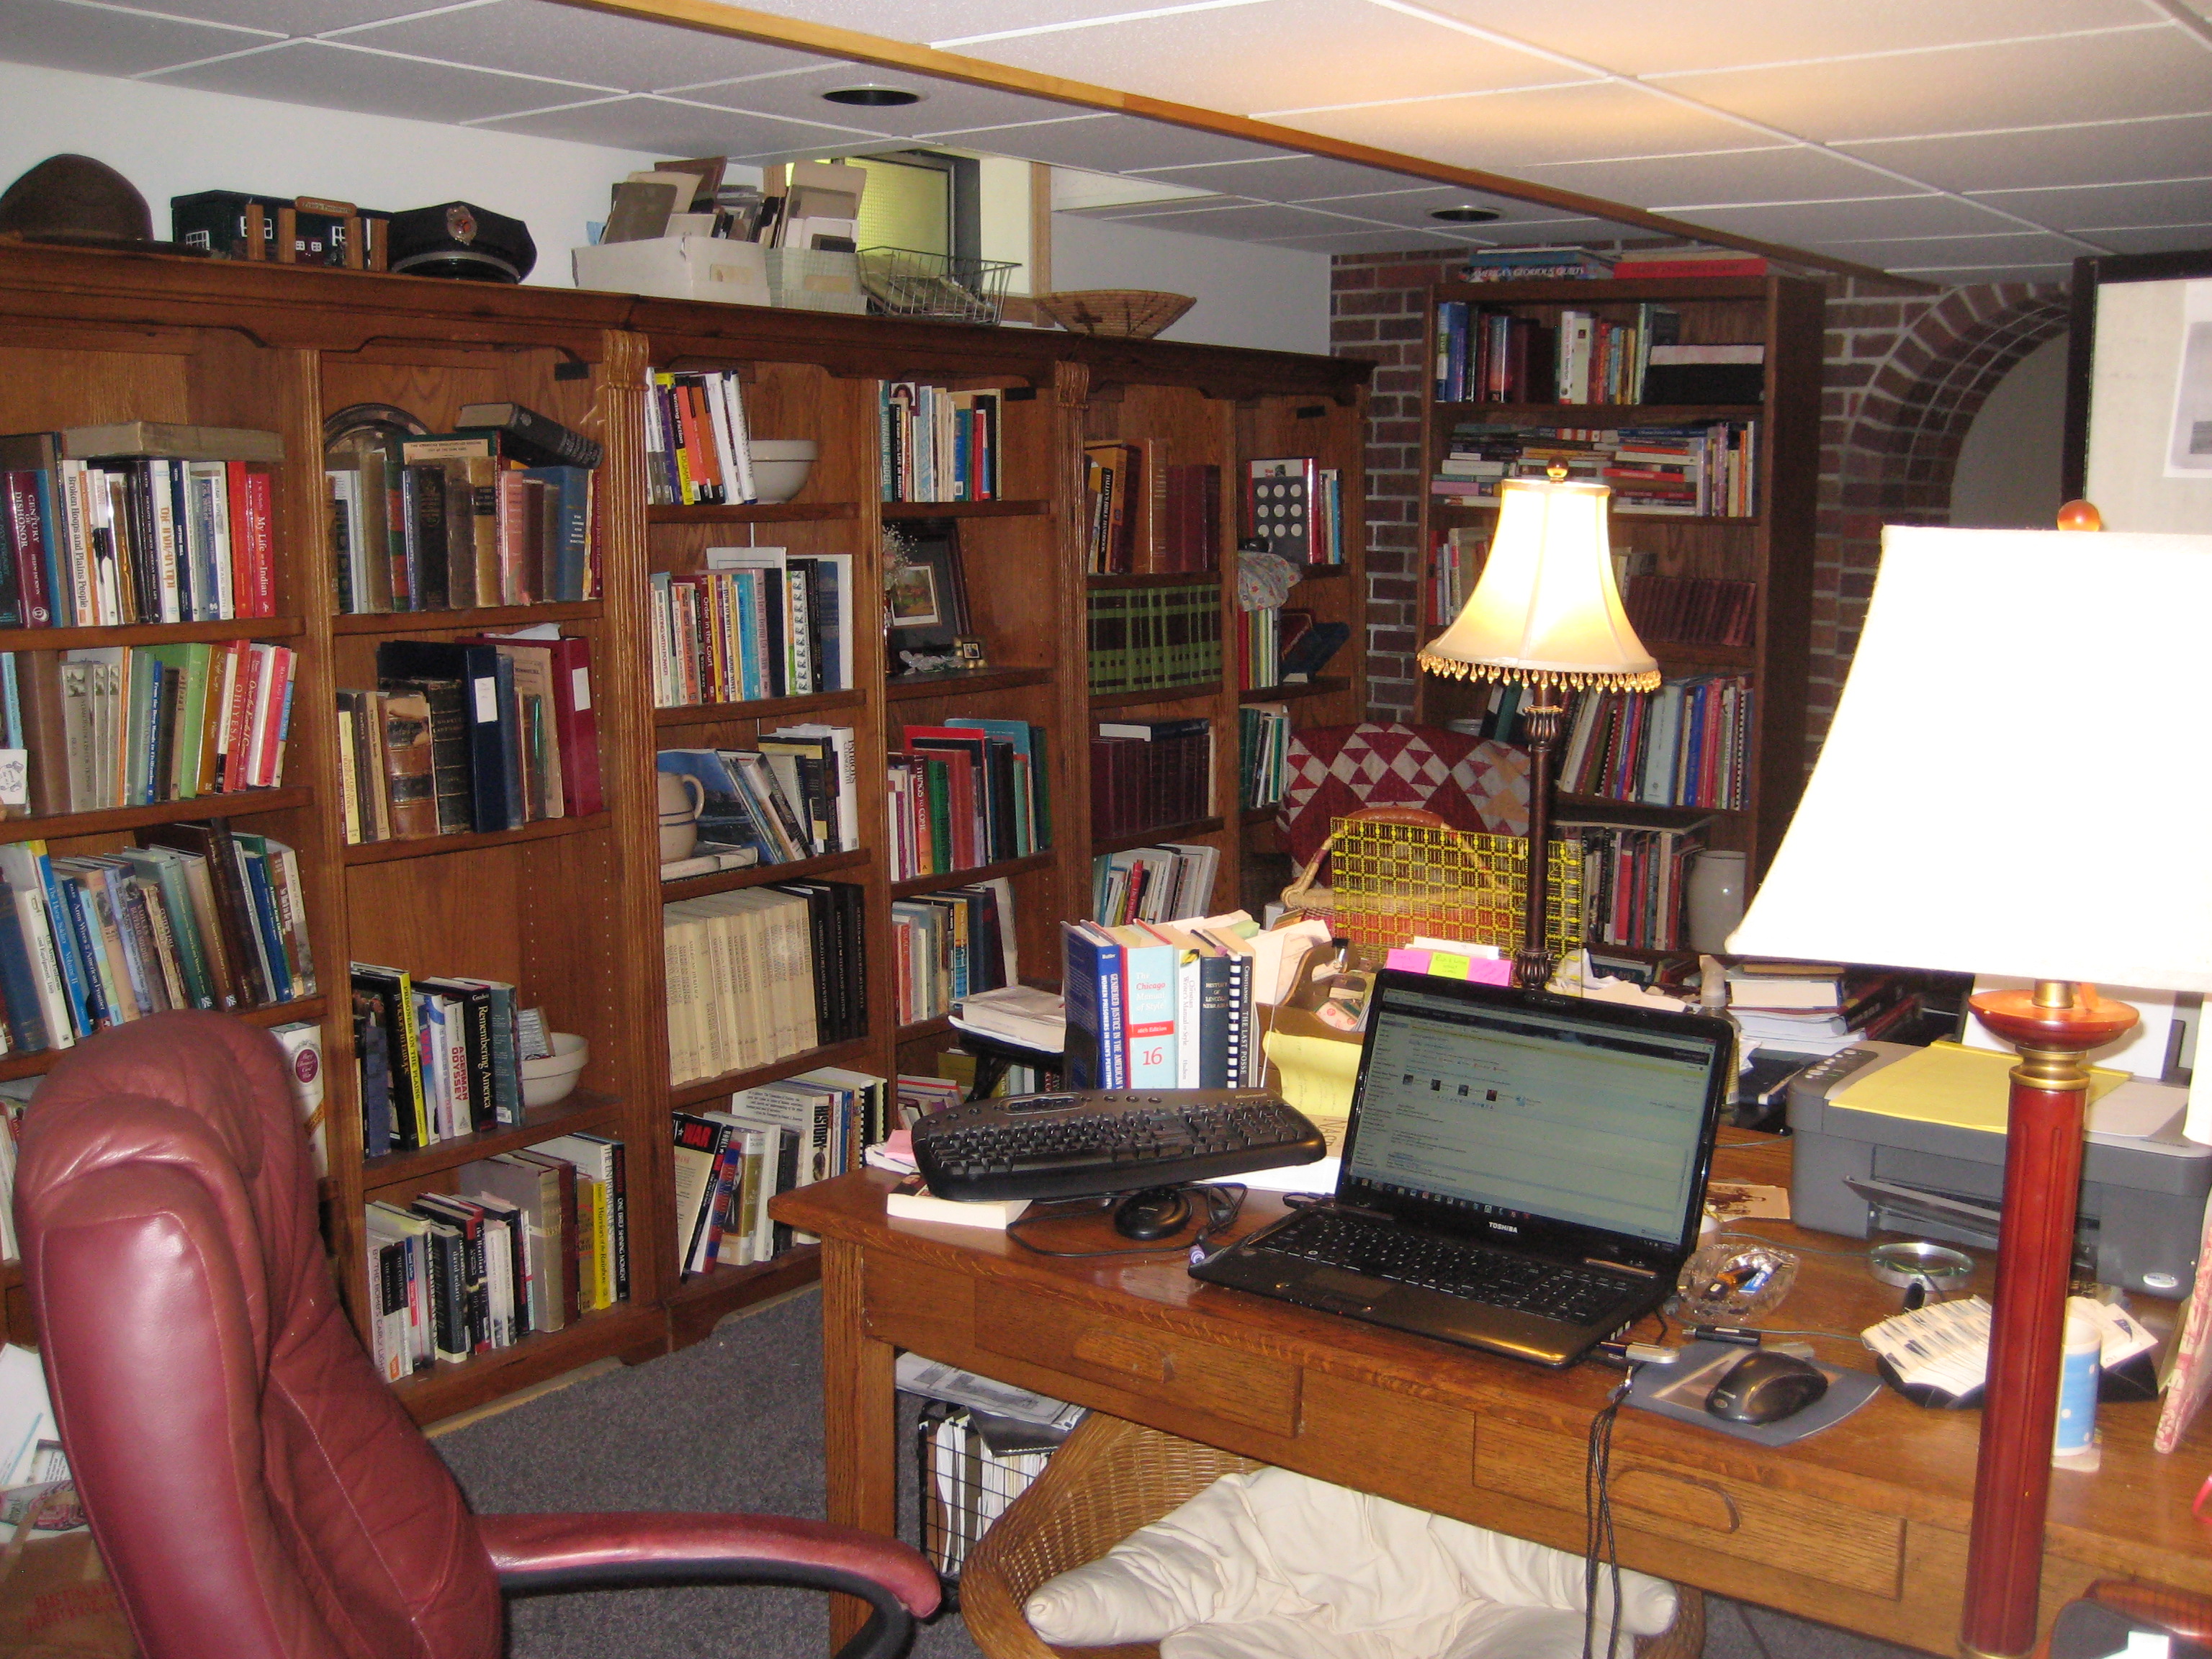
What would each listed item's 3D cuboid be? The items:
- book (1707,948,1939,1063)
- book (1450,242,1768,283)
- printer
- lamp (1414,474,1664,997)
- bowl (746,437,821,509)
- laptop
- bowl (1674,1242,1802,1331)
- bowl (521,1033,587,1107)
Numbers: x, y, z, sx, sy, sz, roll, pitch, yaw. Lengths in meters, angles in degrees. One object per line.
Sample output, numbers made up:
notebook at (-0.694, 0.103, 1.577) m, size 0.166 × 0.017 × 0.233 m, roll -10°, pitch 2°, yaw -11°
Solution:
book at (1.224, 0.287, 2.987) m, size 0.275 × 0.055 × 0.268 m, roll -10°, pitch 13°, yaw -43°
book at (1.716, -1.916, 5.956) m, size 1.016 × 0.137 × 0.140 m, roll 4°, pitch 12°, yaw 23°
printer at (1.203, 0.325, 2.317) m, size 0.589 × 0.241 × 0.363 m, roll 5°, pitch 5°, yaw 37°
lamp at (0.704, -0.192, 2.898) m, size 0.385 × 0.795 × 0.630 m, roll 4°, pitch 12°, yaw 16°
bowl at (-0.786, -0.874, 4.335) m, size 0.211 × 0.116 × 0.188 m, roll -1°, pitch 1°, yaw -10°
laptop at (0.445, 0.431, 2.278) m, size 0.638 × 0.270 × 0.620 m, roll -13°, pitch 15°, yaw -22°
bowl at (0.804, 0.578, 2.236) m, size 0.096 × 0.033 × 0.124 m, roll 1°, pitch 15°, yaw 20°
bowl at (-1.233, 0.536, 3.931) m, size 0.161 × 0.078 × 0.154 m, roll -1°, pitch 2°, yaw 0°
